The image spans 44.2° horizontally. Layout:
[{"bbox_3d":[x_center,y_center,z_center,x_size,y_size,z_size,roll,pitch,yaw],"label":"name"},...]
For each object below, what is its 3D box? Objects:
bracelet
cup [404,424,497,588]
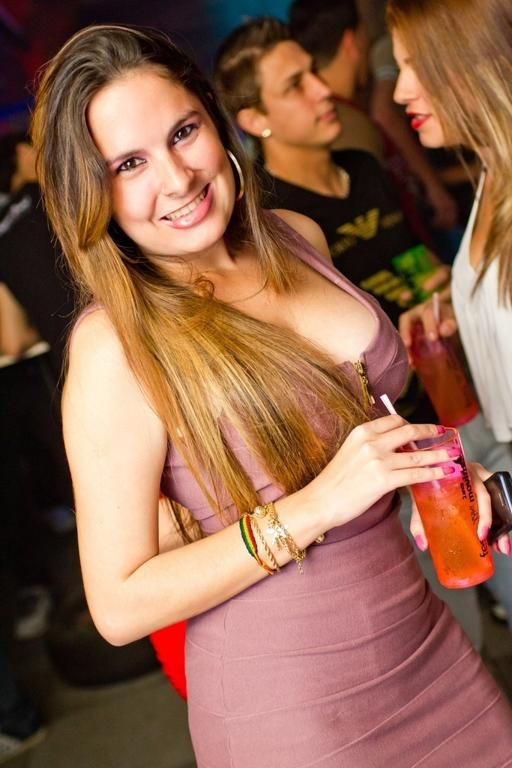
[{"bbox_3d":[0.014,0.206,0.843,0.074,0.099,0.045,-24,17,3],"label":"bracelet"},{"bbox_3d":[0.275,0.172,0.897,0.091,0.232,0.136,-13,36,5],"label":"cup"}]
